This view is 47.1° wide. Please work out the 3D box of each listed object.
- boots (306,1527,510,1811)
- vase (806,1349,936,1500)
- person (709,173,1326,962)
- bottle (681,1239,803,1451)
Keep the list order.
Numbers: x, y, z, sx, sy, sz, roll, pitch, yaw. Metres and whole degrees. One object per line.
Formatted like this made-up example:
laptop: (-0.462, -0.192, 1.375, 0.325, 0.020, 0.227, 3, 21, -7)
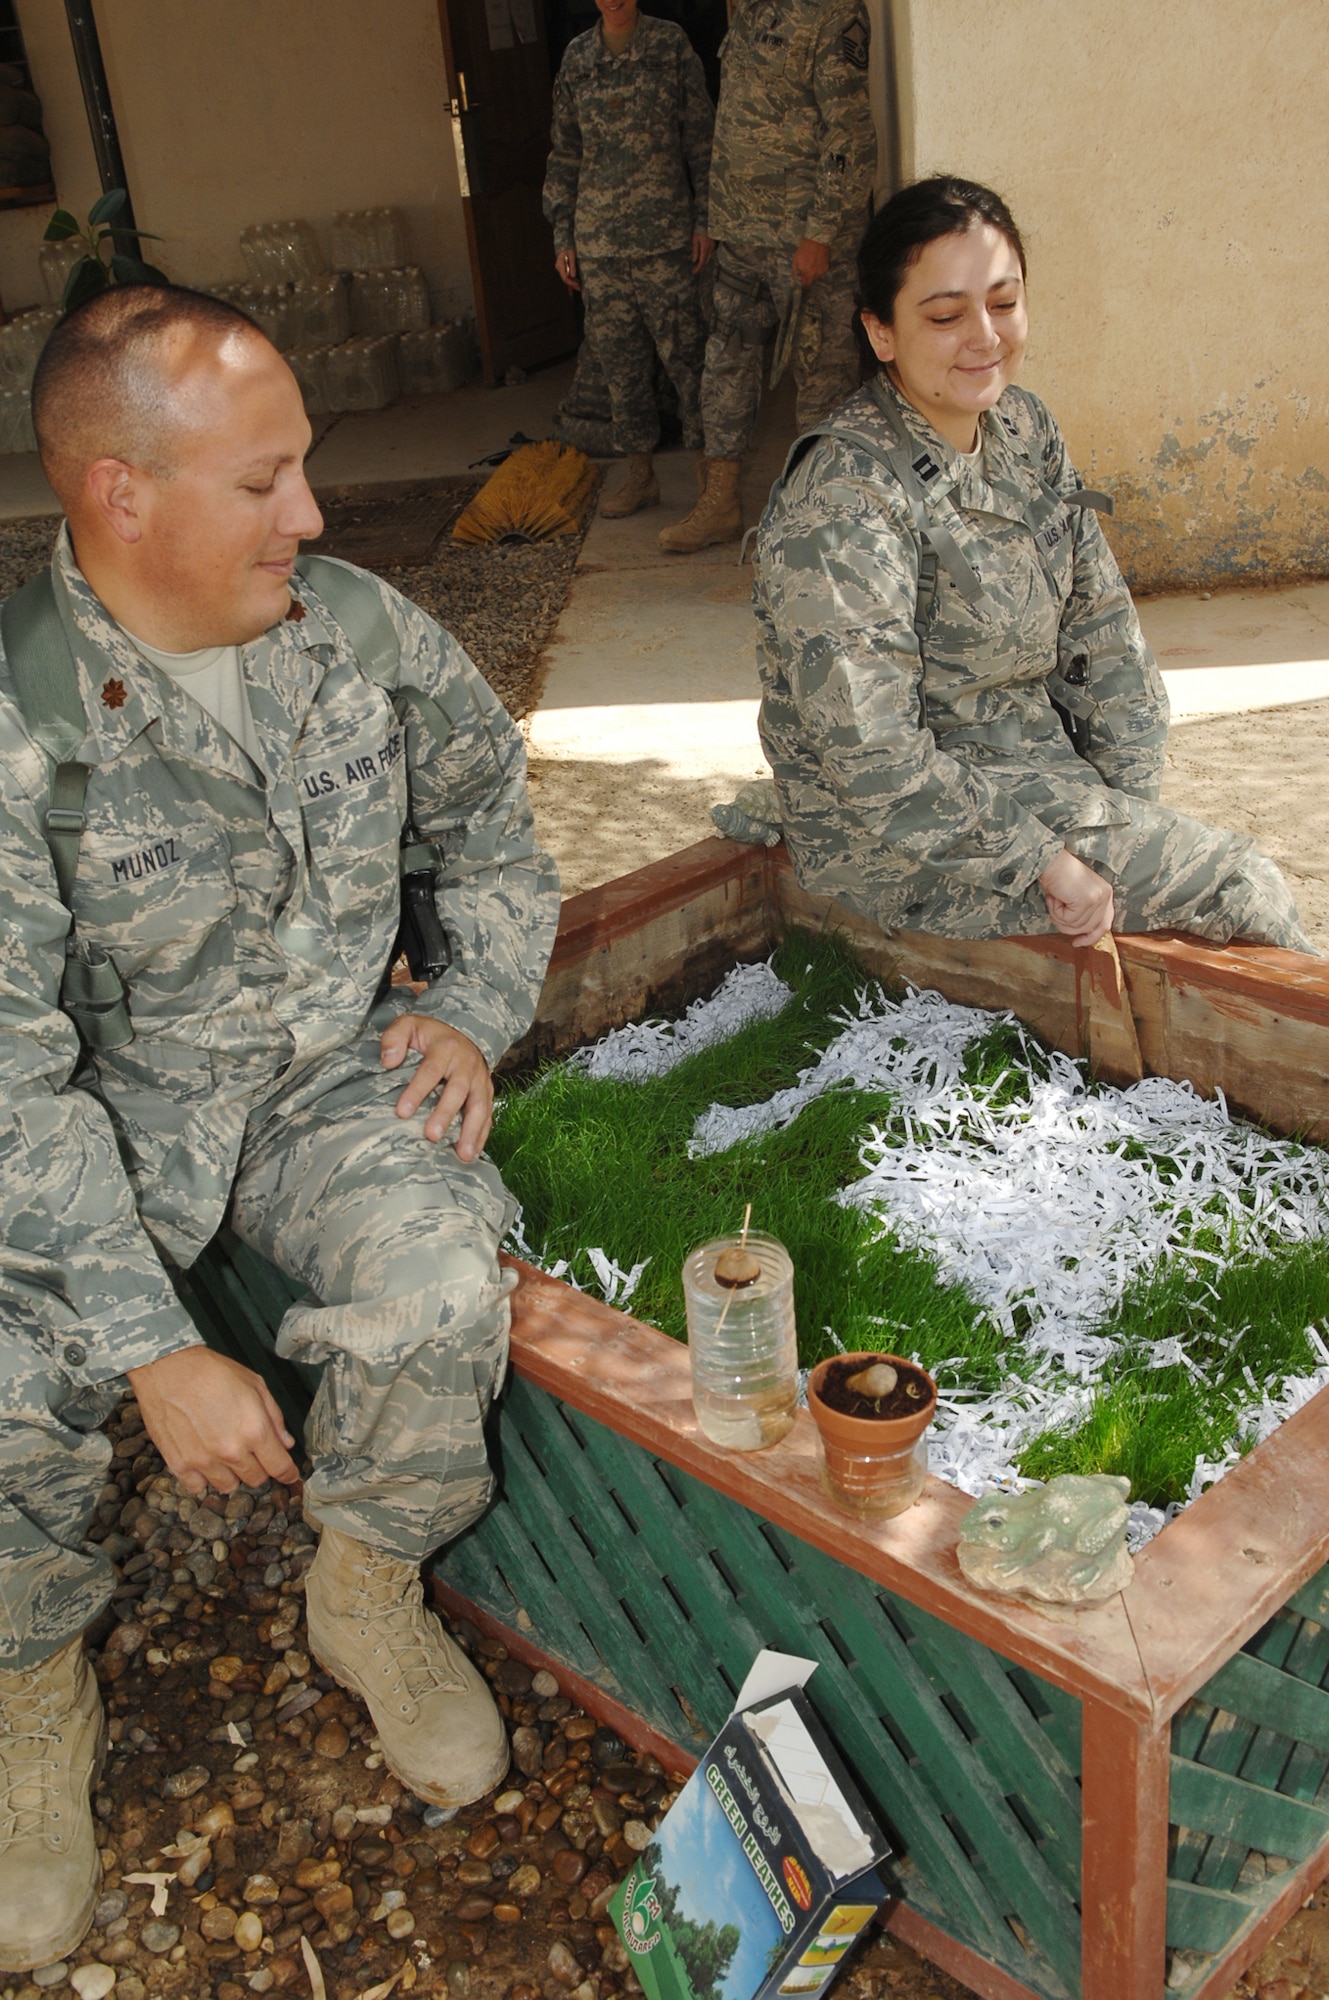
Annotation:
boots: (-0.275, 0.713, 1.608, 0.109, 0.183, 0.292, -30, 48, -31)
vase: (0.163, 0.333, 1.198, 0.111, 0.087, 0.106, -5, 19, -3)
person: (0.428, -0.663, 2.314, 0.621, 1.050, 0.667, 0, 29, 17)
bottle: (0.062, 0.277, 1.307, 0.100, 0.186, 0.134, -8, 27, 2)
